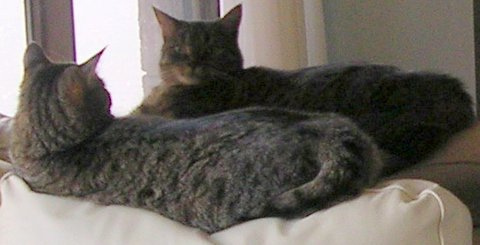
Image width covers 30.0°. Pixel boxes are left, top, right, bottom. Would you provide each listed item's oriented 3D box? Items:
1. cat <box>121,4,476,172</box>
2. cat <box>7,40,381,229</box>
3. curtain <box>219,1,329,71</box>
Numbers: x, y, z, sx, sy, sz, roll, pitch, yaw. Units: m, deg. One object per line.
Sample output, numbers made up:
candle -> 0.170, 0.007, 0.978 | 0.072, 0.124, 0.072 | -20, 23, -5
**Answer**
cat -> 0.183, -0.094, 2.911 | 1.222, 0.537, 0.417 | 4, -1, 11
cat -> -0.175, 0.005, 2.669 | 1.094, 0.364, 0.478 | 8, 16, 16
curtain -> 0.158, -0.335, 3.418 | 0.391, 0.330, 0.092 | -8, 6, -26
